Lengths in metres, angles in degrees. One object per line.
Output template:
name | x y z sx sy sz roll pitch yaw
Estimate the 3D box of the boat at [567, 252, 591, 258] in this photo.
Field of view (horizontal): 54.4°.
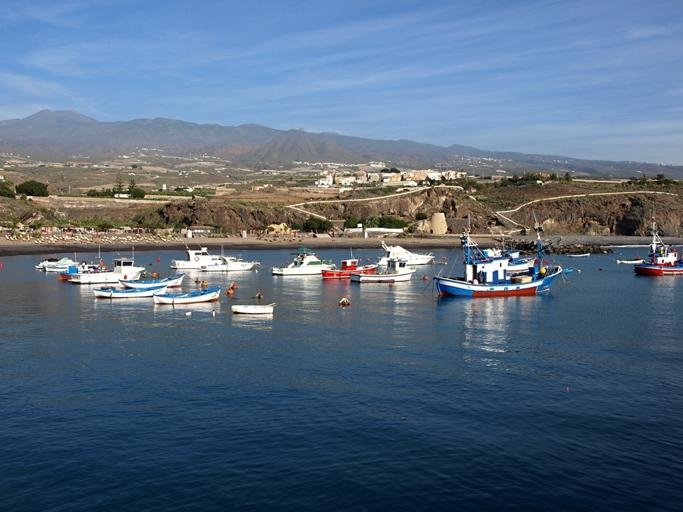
boat | 43.824 -0.319 123.365 4.907 0.478 0.944 -3 16 -21
